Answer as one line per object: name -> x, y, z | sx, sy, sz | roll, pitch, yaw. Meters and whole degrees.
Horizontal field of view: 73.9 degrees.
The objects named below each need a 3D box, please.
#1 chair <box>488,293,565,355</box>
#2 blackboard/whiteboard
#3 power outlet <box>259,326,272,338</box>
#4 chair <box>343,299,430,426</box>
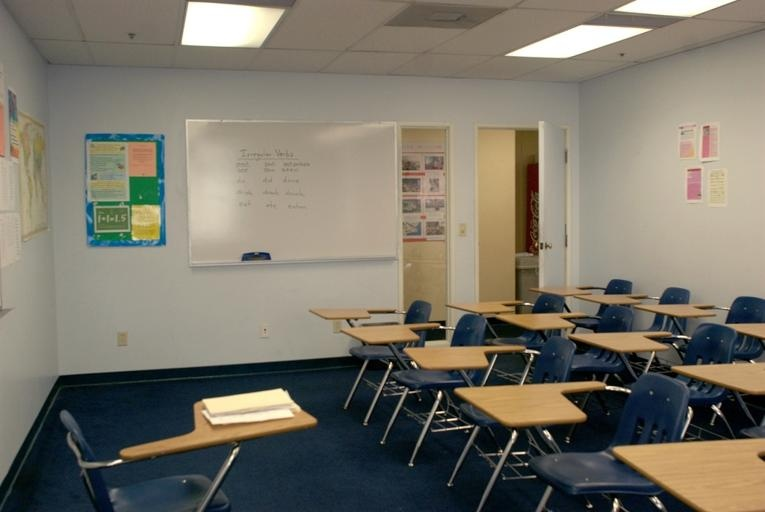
chair -> 1.728, 0.751, 5.917 | 0.789, 0.604, 0.603 | 2, 1, -23
blackboard/whiteboard -> -1.323, -0.845, 6.672 | 2.292, 1.302, 0.161 | -2, 6, -11
power outlet -> -1.554, 0.992, 6.707 | 0.179, 0.175, 0.025 | 1, -3, -22
chair -> 0.132, 1.149, 6.139 | 1.221, 1.498, 1.269 | 6, -8, -17
